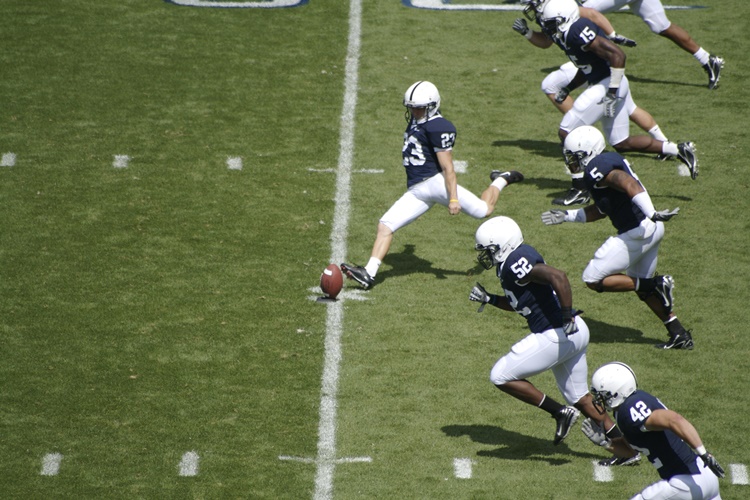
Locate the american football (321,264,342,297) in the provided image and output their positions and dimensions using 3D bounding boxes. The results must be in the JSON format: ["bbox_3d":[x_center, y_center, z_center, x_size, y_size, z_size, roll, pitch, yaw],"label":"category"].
[{"bbox_3d":[-0.494,0.368,17.100,0.257,0.370,0.283,5,25,16],"label":"american football"}]

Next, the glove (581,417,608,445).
[{"bbox_3d":[2.380,1.958,15.235,0.122,0.314,0.212,-13,45,56],"label":"glove"}]

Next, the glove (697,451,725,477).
[{"bbox_3d":[3.474,2.190,14.476,0.099,0.332,0.213,-41,23,17],"label":"glove"}]

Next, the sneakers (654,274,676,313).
[{"bbox_3d":[3.405,0.466,16.498,0.222,0.494,0.182,-13,10,23],"label":"sneakers"}]

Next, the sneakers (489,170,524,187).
[{"bbox_3d":[1.650,-0.901,17.743,0.463,0.171,0.187,1,69,4],"label":"sneakers"}]

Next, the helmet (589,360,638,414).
[{"bbox_3d":[2.522,1.435,14.944,0.546,0.449,0.430,-1,29,27],"label":"helmet"}]

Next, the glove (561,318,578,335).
[{"bbox_3d":[2.139,0.802,15.359,0.204,0.209,0.110,-29,53,-31],"label":"glove"}]

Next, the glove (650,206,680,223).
[{"bbox_3d":[3.331,-0.355,16.143,0.329,0.134,0.207,-20,9,25],"label":"glove"}]

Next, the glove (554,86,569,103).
[{"bbox_3d":[2.465,-2.073,18.888,0.257,0.163,0.148,-20,39,-32],"label":"glove"}]

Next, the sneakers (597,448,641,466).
[{"bbox_3d":[2.683,2.265,15.433,0.514,0.215,0.166,0,11,3],"label":"sneakers"}]

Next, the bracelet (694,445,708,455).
[{"bbox_3d":[3.344,2.027,14.478,0.108,0.101,0.107,-32,91,-20],"label":"bracelet"}]

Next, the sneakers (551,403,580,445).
[{"bbox_3d":[2.055,1.868,15.514,0.267,0.497,0.175,12,29,-13],"label":"sneakers"}]

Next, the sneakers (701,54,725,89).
[{"bbox_3d":[4.785,-2.564,19.896,0.310,0.570,0.211,-18,28,-10],"label":"sneakers"}]

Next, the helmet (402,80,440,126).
[{"bbox_3d":[0.562,-1.766,17.421,0.419,0.638,0.435,-1,43,-5],"label":"helmet"}]

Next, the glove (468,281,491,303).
[{"bbox_3d":[1.189,0.446,15.867,0.241,0.227,0.096,11,57,-2],"label":"glove"}]

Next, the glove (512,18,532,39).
[{"bbox_3d":[1.987,-3.002,19.122,0.285,0.132,0.215,36,52,-10],"label":"glove"}]
